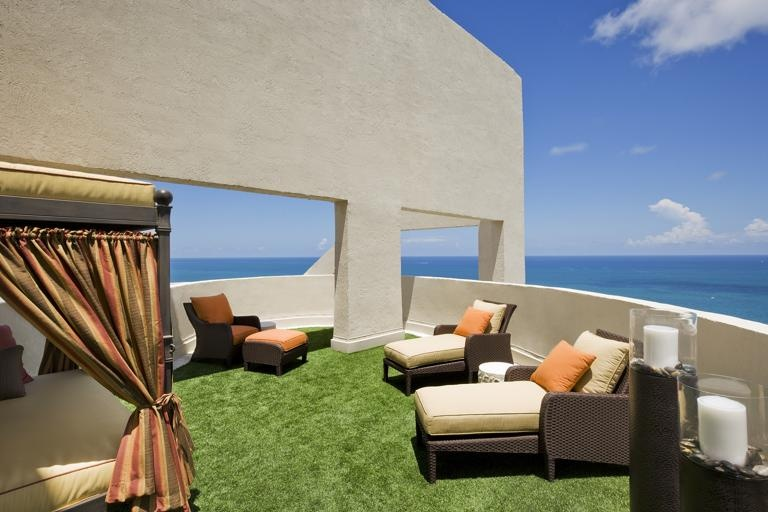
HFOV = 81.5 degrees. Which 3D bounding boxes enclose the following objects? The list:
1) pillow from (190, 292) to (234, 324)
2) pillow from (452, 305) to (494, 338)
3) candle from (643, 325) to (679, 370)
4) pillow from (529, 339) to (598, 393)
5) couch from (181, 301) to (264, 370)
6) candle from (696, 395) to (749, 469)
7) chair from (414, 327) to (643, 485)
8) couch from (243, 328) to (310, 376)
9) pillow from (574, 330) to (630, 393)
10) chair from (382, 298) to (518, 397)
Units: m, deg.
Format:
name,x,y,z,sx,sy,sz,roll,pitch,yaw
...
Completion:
name,x,y,z,sx,sy,sz,roll,pitch,yaw
pillow,-3.007,0.900,7.687,0.245,0.399,0.539,-20,-12,27
pillow,1.322,0.980,6.563,0.137,0.404,0.430,37,-13,-29
candle,1.974,0.650,3.178,0.279,0.303,0.280,0,-3,4
pillow,1.898,1.207,4.679,0.162,0.496,0.521,42,0,-14
couch,-2.771,1.258,7.748,1.200,1.195,1.089,1,2,11
candle,2.040,1.058,2.705,0.269,0.380,0.143,5,13,27
chair,1.418,1.499,4.688,2.167,1.289,0.970,-1,12,0
couch,-1.754,1.514,7.189,0.803,0.624,0.850,4,12,24
pillow,2.190,1.065,4.688,0.565,0.579,0.612,2,8,3
chair,0.877,1.292,6.527,1.868,1.078,1.088,1,-2,-21
